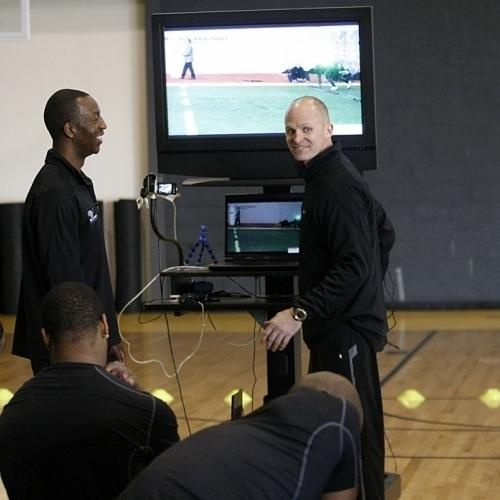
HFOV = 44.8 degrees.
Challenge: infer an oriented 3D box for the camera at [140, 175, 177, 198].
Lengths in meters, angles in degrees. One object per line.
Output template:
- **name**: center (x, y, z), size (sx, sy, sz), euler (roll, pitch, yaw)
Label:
- **camera**: center (-0.488, -0.338, 3.278), size (0.133, 0.062, 0.145), euler (2, 0, 2)

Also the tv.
- **tv**: center (0.069, -0.725, 2.810), size (0.795, 0.709, 0.090), euler (-1, -4, 4)

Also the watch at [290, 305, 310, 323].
- **watch**: center (0.163, 0.214, 2.002), size (0.032, 0.063, 0.053), euler (0, 5, -17)
